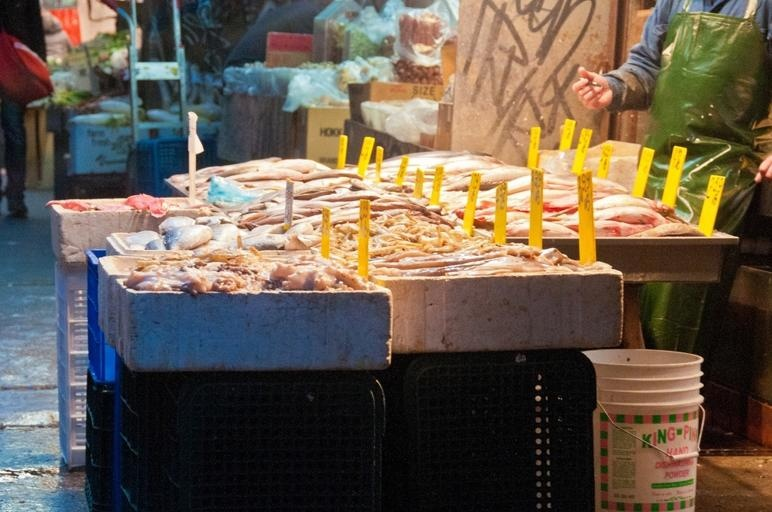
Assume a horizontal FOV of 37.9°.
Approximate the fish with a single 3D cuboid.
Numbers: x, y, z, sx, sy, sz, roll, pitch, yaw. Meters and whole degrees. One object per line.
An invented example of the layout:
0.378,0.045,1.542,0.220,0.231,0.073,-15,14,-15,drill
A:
0.253,-0.301,6.017,1.569,0.327,1.037,-6,16,-15,fish
